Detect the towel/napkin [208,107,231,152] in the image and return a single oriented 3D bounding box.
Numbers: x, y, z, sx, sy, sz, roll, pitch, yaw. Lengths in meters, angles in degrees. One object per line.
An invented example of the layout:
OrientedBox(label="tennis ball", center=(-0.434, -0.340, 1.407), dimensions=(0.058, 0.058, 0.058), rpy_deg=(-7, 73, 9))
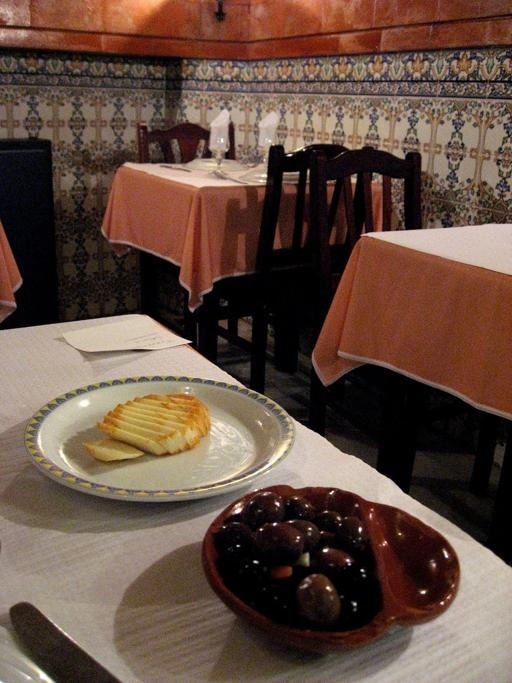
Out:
OrientedBox(label="towel/napkin", center=(-0.157, -0.916, 2.325), dimensions=(0.086, 0.148, 0.110), rpy_deg=(5, 12, -1))

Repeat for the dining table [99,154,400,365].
OrientedBox(label="dining table", center=(-0.128, -0.433, 2.436), dimensions=(1.096, 0.342, 1.063), rpy_deg=(13, 7, -7))

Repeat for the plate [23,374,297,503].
OrientedBox(label="plate", center=(-0.085, 0.087, 0.530), dimensions=(0.245, 0.028, 0.245), rpy_deg=(4, 19, -11))

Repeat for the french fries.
OrientedBox(label="french fries", center=(-0.100, 0.070, 0.508), dimensions=(0.058, 0.019, 0.080), rpy_deg=(23, 36, 35))
